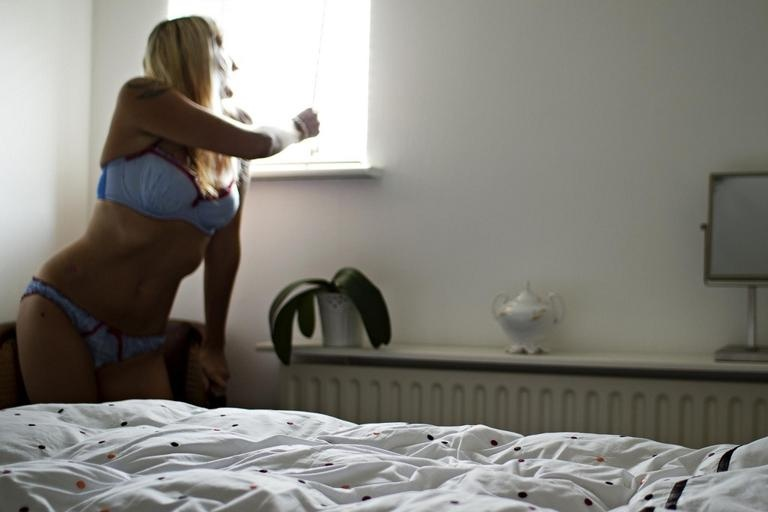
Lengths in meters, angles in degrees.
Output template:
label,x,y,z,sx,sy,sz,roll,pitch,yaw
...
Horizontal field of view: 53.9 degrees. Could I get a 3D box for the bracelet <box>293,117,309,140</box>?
label,x,y,z,sx,sy,sz,roll,pitch,yaw
bracelet,-0.263,-0.408,2.454,0.057,0.052,0.065,-26,7,-20

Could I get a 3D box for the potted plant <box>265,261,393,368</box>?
label,x,y,z,sx,sy,sz,roll,pitch,yaw
potted plant,-0.181,0.190,2.773,0.426,0.308,0.400,-24,-1,31
